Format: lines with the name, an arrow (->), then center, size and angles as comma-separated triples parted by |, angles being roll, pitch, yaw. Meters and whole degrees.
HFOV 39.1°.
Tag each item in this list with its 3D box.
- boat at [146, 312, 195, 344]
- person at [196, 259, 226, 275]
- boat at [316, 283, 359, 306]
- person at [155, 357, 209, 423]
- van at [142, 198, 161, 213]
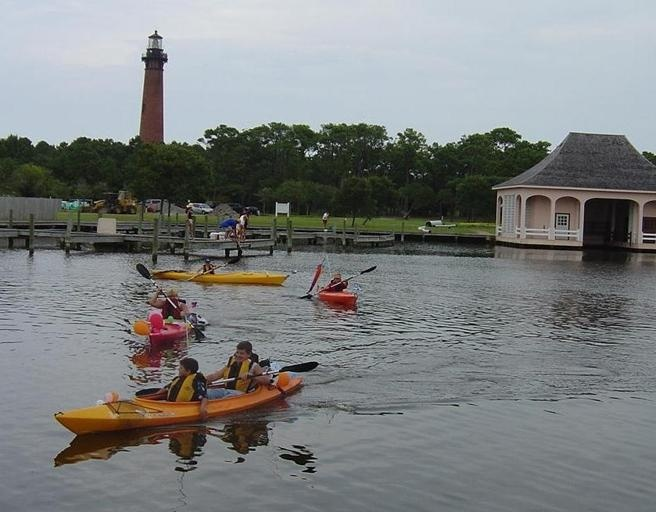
boat -> -4.366, 1.953, 25.114 | 0.947, 0.769, 1.586 | 2, 1, 23
person -> -4.760, 0.483, 36.526 | 1.283, 0.373, 1.097 | -3, -1, -25
boat -> 0.399, 1.403, 31.436 | 0.944, 0.543, 1.784 | 0, 1, -33
person -> -3.148, 2.960, 20.070 | 1.139, 1.420, 0.668 | -17, -37, 31
van -> -15.670, -4.498, 82.406 | 1.949, 0.941, 2.275 | 1, 10, 2
